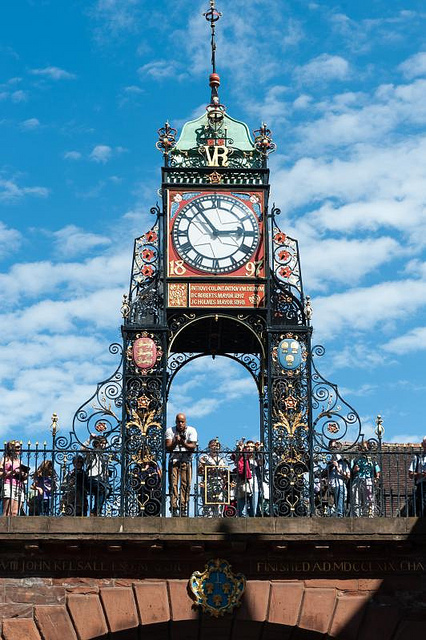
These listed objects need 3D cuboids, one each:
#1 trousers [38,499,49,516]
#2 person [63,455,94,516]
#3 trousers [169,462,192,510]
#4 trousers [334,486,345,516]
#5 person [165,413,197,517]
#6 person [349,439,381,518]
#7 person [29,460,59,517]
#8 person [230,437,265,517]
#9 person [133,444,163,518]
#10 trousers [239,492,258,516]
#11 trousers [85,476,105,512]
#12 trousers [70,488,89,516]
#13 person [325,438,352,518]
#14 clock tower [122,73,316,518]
[{"bbox_3d":[-2.769,3.049,31.327,0.154,0.261,0.317,0,-6,-7],"label":"trousers"},{"bbox_3d":[-2.191,2.688,31.353,0.500,1.011,0.765,0,-6,-4],"label":"person"},{"bbox_3d":[-0.536,2.726,31.670,0.347,0.790,0.297,-1,-6,-3],"label":"trousers"},{"bbox_3d":[2.098,2.969,31.705,0.166,0.469,0.192,0,-6,-5],"label":"trousers"},{"bbox_3d":[-0.527,2.385,31.744,0.509,1.694,0.754,-1,-6,-2],"label":"person"},{"bbox_3d":[2.497,2.632,31.861,0.499,1.341,0.141,1,-27,-1],"label":"person"},{"bbox_3d":[-2.734,2.732,31.284,0.444,0.909,0.777,0,-6,-6],"label":"person"},{"bbox_3d":[0.572,2.589,31.612,0.558,1.310,1.408,-1,-6,1],"label":"person"},{"bbox_3d":[-1.090,2.625,31.688,0.445,1.179,0.501,0,-6,-4],"label":"person"},{"bbox_3d":[0.588,3.024,31.605,0.301,0.390,0.524,-1,-6,-1],"label":"trousers"},{"bbox_3d":[-1.929,2.844,31.477,0.309,0.596,0.538,0,-6,-6],"label":"trousers"},{"bbox_3d":[-2.174,2.966,31.529,0.367,0.512,0.152,1,-4,-5],"label":"trousers"},{"bbox_3d":[2.090,2.610,31.852,0.438,1.292,0.975,-1,-6,3],"label":"person"},{"bbox_3d":[0.046,-0.486,33.598,3.465,9.046,1.710,1,-20,-3],"label":"clock tower"}]
